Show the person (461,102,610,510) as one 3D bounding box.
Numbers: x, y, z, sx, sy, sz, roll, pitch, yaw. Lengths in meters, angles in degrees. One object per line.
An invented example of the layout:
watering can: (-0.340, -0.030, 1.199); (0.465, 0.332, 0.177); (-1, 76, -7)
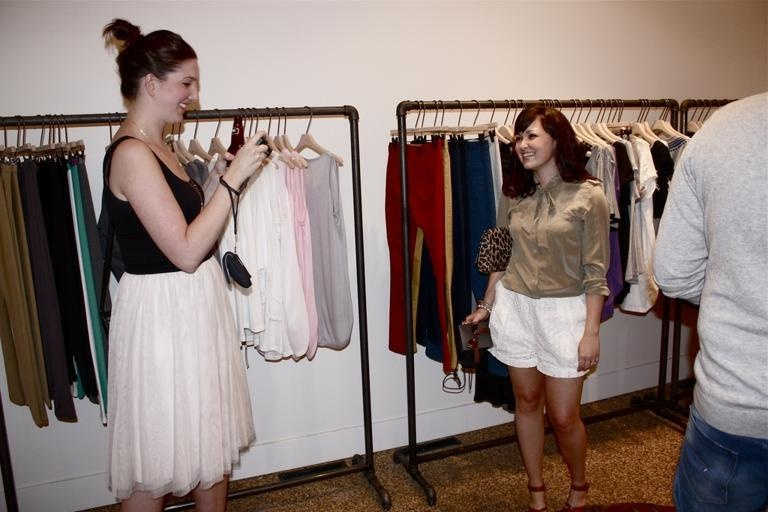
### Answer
person: (0.853, 0.288, 3.105); (0.680, 2.151, 0.490); (1, 12, 23)

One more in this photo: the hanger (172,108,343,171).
hanger: (-0.561, -0.609, 3.238); (1.137, 0.414, 0.387); (-1, 4, -10)

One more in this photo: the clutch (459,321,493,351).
clutch: (0.513, 0.439, 3.165); (0.151, 0.158, 0.056); (-10, 3, -14)

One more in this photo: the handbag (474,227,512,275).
handbag: (0.641, -0.044, 3.192); (0.110, 0.251, 0.257); (23, 32, 40)

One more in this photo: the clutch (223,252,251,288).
clutch: (-0.732, 0.066, 2.858); (0.072, 0.197, 0.139); (-32, 29, -13)
